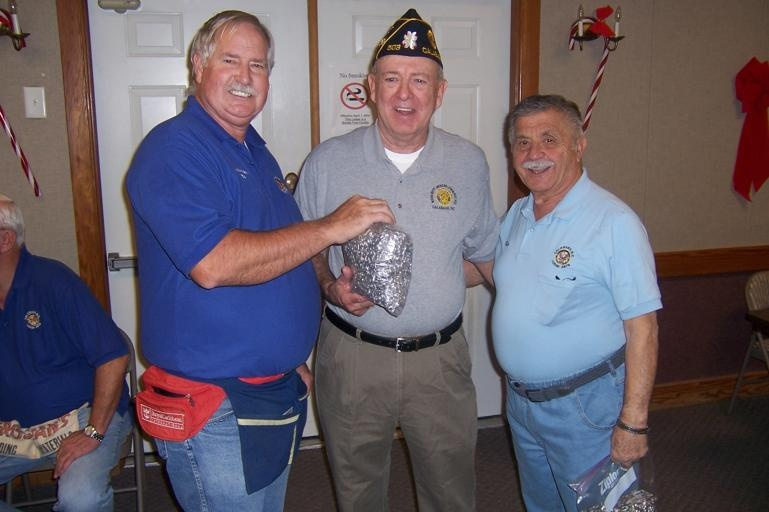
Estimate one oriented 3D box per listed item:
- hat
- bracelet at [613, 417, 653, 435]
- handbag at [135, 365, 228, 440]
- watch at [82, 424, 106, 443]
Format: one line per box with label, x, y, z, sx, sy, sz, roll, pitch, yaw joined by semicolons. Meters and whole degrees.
hat;0.118;-1.064;2.944;0.224;0.164;0.314;-1;29;0
bracelet;1.145;0.768;2.810;0.176;0.073;0.086;1;15;-4
handbag;-0.875;0.629;2.722;0.395;0.168;0.401;1;11;-14
watch;-1.430;0.883;3.066;0.106;0.066;0.099;30;-28;-8
